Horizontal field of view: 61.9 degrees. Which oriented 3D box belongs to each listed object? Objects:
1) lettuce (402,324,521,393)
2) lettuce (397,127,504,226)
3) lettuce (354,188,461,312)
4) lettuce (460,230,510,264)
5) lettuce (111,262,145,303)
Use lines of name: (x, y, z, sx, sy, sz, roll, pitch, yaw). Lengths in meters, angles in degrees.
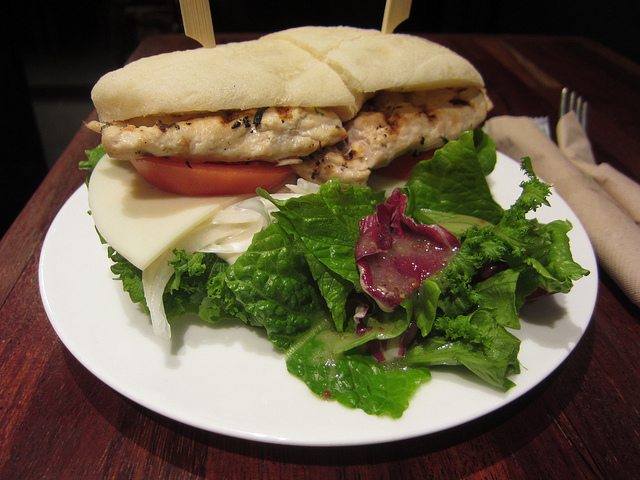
lettuce: (0.555, 0.436, 2.070, 0.306, 0.273, 0.130, 22, 85, 7)
lettuce: (0.588, -0.241, 2.548, 0.486, 0.129, 0.535, -5, 88, 0)
lettuce: (0.332, 0.045, 2.179, 0.374, 0.175, 0.505, 15, 56, 18)
lettuce: (0.678, 0.028, 2.175, 0.190, 0.075, 0.124, 24, 53, 17)
lettuce: (-0.786, 0.153, 2.227, 0.137, 0.031, 0.240, -27, 43, -16)
